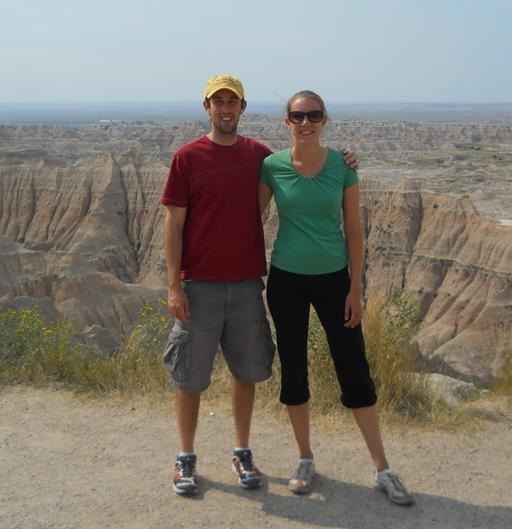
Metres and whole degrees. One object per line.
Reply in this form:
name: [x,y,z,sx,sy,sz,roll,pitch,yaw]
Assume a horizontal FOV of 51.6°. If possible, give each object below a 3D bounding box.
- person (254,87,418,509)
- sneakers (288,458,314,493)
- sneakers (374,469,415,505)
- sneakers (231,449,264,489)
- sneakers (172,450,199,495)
person: [0.353,0.152,3.070,0.653,2.258,0.460,-1,10,-3]
sneakers: [0.279,1.236,3.140,0.119,0.131,0.301,-1,6,23]
sneakers: [0.766,1.243,3.005,0.087,0.114,0.239,-13,29,-38]
sneakers: [-0.062,1.208,3.201,0.127,0.169,0.343,3,4,-19]
sneakers: [-0.412,1.217,3.120,0.128,0.191,0.408,6,-5,-8]
